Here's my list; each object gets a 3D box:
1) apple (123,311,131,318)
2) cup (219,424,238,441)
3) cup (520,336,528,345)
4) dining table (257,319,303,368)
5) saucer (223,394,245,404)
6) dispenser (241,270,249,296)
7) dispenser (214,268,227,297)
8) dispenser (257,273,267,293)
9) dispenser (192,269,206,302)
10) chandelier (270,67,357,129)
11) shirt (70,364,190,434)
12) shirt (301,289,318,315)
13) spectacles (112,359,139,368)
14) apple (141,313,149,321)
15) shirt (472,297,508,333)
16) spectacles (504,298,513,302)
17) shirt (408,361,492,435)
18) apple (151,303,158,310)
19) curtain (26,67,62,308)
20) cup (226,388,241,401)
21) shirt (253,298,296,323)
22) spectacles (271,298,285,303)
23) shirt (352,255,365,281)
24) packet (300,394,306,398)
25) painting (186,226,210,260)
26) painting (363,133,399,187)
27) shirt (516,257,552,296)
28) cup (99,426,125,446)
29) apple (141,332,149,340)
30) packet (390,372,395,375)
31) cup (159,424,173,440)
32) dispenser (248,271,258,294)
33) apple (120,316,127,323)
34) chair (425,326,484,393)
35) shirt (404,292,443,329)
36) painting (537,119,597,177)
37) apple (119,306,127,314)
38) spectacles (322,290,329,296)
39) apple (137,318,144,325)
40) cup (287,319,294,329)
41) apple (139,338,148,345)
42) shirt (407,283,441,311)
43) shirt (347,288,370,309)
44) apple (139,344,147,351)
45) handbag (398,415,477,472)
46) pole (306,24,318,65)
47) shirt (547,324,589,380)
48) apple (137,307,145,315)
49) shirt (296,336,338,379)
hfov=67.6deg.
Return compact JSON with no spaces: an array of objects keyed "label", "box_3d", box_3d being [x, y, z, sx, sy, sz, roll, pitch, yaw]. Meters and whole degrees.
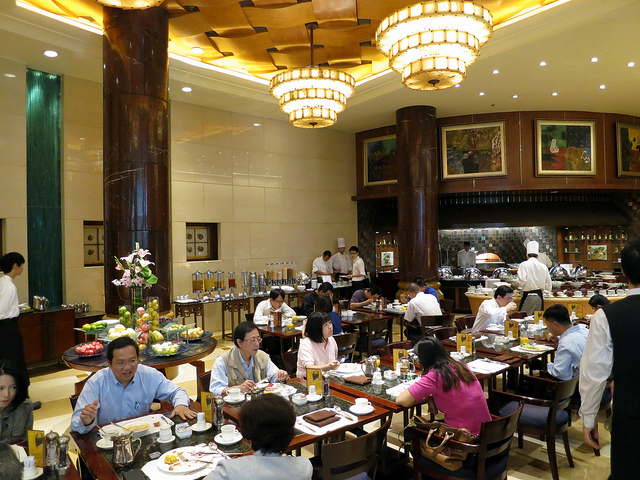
[{"label":"apple","box_3d":[-2.261,0.872,5.585,0.060,0.064,0.063,3,-3,15]},{"label":"cup","box_3d":[-0.691,1.446,3.592,0.103,0.075,0.087,2,-7,-13]},{"label":"cup","box_3d":[2.388,1.178,5.596,0.083,0.099,0.085,0,-7,0]},{"label":"dining table","box_3d":[-0.548,1.406,6.681,0.583,0.595,0.600,0,-1,38]},{"label":"saucer","box_3d":[-0.761,1.397,4.221,0.176,0.056,0.125,-2,-3,-11]},{"label":"dispenser","box_3d":[-1.613,0.902,10.226,0.160,0.475,0.819,-2,-3,-10]},{"label":"dispenser","box_3d":[-2.079,0.847,9.873,0.218,0.547,0.763,-2,-3,-11]},{"label":"dispenser","box_3d":[-1.254,0.925,10.281,0.192,0.378,0.585,-2,-3,-8]},{"label":"dispenser","box_3d":[-2.403,0.894,9.420,0.225,0.593,0.992,-2,-3,-16]},{"label":"chandelier","box_3d":[-0.116,-2.226,7.447,1.284,0.662,0.792,-3,-3,-7]},{"label":"shirt","box_3d":[-1.616,1.303,4.059,0.903,0.431,0.511,-1,-3,-31]},{"label":"shirt","box_3d":[-0.183,1.018,7.666,0.273,0.363,0.627,-3,-3,-1]},{"label":"spectacles","box_3d":[-1.629,1.027,3.996,0.170,0.060,0.050,-2,-2,-20]},{"label":"apple","box_3d":[-2.022,0.885,5.503,0.069,0.086,0.071,2,-10,26]},{"label":"shirt","box_3d":[2.331,1.031,6.592,0.487,0.333,0.446,-3,-3,13]},{"label":"spectacles","box_3d":[2.633,0.834,6.688,0.069,0.075,0.022,-5,-18,13]},{"label":"shirt","box_3d":[1.130,1.318,4.087,0.561,0.605,0.509,4,2,33]},{"label":"apple","box_3d":[-1.973,0.786,5.671,0.027,0.076,0.093,-3,-3,14]},{"label":"curtain","box_3d":[-4.847,-0.911,8.360,0.542,4.073,0.243,-1,-2,-36]},{"label":"cup","box_3d":[-0.766,1.357,4.223,0.094,0.071,0.079,-2,0,34]},{"label":"shirt","box_3d":[-0.770,1.029,7.543,0.281,0.509,0.494,-4,-5,38]},{"label":"spectacles","box_3d":[-0.639,0.892,7.111,0.088,0.027,0.087,29,10,31]},{"label":"shirt","box_3d":[0.981,0.649,11.477,0.401,0.820,0.633,2,-2,3]},{"label":"packet","box_3d":[-0.148,1.368,4.196,0.035,0.008,0.069,-5,-4,36]},{"label":"painting","box_3d":[-2.619,0.056,10.113,0.066,0.665,0.675,0,2,35]},{"label":"painting","box_3d":[1.568,-2.062,12.436,0.980,1.258,0.108,4,3,40]},{"label":"shirt","box_3d":[3.886,0.695,8.767,0.648,0.801,0.437,2,-4,-4]},{"label":"cup","box_3d":[-1.589,1.455,3.623,0.183,0.129,0.165,0,-2,-13]},{"label":"apple","box_3d":[-1.981,1.078,5.391,0.057,0.060,0.059,14,14,34]},{"label":"packet","box_3d":[0.719,1.327,4.761,0.048,0.008,0.027,-2,-3,-12]},{"label":"cup","box_3d":[-1.170,1.449,3.615,0.090,0.082,0.092,1,-4,0]},{"label":"dispenser","box_3d":[-1.445,0.909,10.212,0.201,0.438,0.792,-2,-3,-8]},{"label":"apple","box_3d":[-2.309,0.924,5.591,0.079,0.075,0.047,-2,-2,-18]},{"label":"chair","box_3d":[1.739,1.436,6.220,0.653,0.974,0.655,4,2,44]},{"label":"shirt","box_3d":[1.647,1.062,7.487,0.646,0.589,0.368,-5,10,-31]},{"label":"painting","box_3d":[5.658,-2.118,11.001,1.427,1.303,0.125,0,0,-2]},{"label":"apple","box_3d":[-2.306,0.814,5.571,0.071,0.088,0.071,-20,36,-21]},{"label":"spectacles","box_3d":[0.074,0.800,7.297,0.025,0.102,0.106,-19,-12,-26]},{"label":"apple","box_3d":[-2.089,0.944,5.541,0.067,0.071,0.038,-7,34,7]},{"label":"cup","box_3d":[-0.421,1.199,6.843,0.092,0.107,0.092,-1,8,0]},{"label":"apple","box_3d":[-1.998,1.142,5.386,0.050,0.072,0.050,3,-3,24]},{"label":"shirt","box_3d":[1.774,0.929,7.957,0.348,0.642,0.262,-18,-6,6]},{"label":"shirt","box_3d":[0.712,1.052,8.964,0.265,0.471,0.497,9,-4,38]},{"label":"apple","box_3d":[-1.977,1.183,5.300,0.050,0.050,0.061,-42,-23,-4]},{"label":"handbag","box_3d":[1.000,1.649,3.985,0.415,0.382,0.457,3,-1,36]},{"label":"pole","box_3d":[-0.123,-3.103,7.685,0.180,0.601,0.349,-3,-2,0]},{"label":"shirt","box_3d":[2.750,1.168,5.230,0.660,0.585,0.355,-20,20,-35]},{"label":"apple","box_3d":[-2.081,0.810,5.547,0.068,0.071,0.083,21,12,7]},{"label":"shirt","box_3d":[-0.019,1.204,5.131,0.397,0.449,0.363,-2,5,-41]}]
